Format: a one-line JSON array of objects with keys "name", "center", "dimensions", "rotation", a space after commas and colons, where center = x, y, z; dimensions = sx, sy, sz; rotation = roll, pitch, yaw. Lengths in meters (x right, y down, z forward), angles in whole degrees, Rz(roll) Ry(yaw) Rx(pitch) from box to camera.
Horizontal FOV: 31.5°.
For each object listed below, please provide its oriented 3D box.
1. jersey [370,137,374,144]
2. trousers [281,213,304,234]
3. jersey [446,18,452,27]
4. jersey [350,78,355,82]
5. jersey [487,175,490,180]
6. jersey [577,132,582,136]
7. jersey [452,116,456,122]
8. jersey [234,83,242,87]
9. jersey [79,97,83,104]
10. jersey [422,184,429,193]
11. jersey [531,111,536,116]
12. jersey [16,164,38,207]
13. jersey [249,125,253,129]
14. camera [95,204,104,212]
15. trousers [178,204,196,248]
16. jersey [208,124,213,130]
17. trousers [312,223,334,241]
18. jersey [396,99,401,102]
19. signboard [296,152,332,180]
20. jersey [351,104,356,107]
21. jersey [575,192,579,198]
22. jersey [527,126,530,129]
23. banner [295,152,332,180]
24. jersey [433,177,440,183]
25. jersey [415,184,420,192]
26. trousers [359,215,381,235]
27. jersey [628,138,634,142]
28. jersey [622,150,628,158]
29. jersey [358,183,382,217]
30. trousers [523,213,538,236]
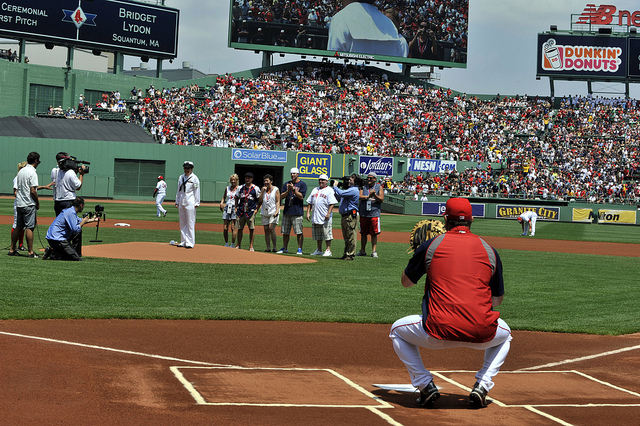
[{"name": "jersey", "center": [3.833, -5.457, 84.211], "dimensions": [0.203, 0.438, 0.461], "rotation": [2, 2, -3]}, {"name": "trousers", "center": [-1.288, 0.472, 50.718], "dimensions": [1.007, 1.321, 0.516], "rotation": [0, 0, 5]}, {"name": "jersey", "center": [9.970, -14.895, 87.813], "dimensions": [0.372, 0.610, 0.242], "rotation": [2, 2, -1]}, {"name": "jersey", "center": [2.385, -10.391, 88.020], "dimensions": [0.259, 0.273, 0.072], "rotation": [-4, -23, 4]}, {"name": "jersey", "center": [12.304, -2.642, 83.364], "dimensions": [0.237, 0.316, 0.161], "rotation": [3, -3, 44]}, {"name": "jersey", "center": [19.811, -6.087, 86.815], "dimensions": [0.259, 0.263, 0.064], "rotation": [4, -14, 7]}, {"name": "jersey", "center": [10.314, -7.322, 87.806], "dimensions": [0.248, 0.416, 0.490], "rotation": [2, 2, 6]}, {"name": "jersey", "center": [-6.136, -9.534, 83.335], "dimensions": [0.565, 0.233, 0.276], "rotation": [1, 2, -23]}, {"name": "jersey", "center": [-16.934, -7.997, 79.982], "dimensions": [0.243, 0.456, 0.171], "rotation": [1, 3, -30]}, {"name": "jersey", "center": [7.432, -1.751, 80.898], "dimensions": [0.513, 0.534, 0.200], "rotation": [2, -8, -1]}, {"name": "jersey", "center": [16.678, -7.922, 89.092], "dimensions": [0.354, 0.350, 0.087], "rotation": [-1, -6, 12]}, {"name": "jersey", "center": [-12.311, -1.185, 47.408], "dimensions": [1.249, 1.769, 0.659], "rotation": [1, -4, 38]}, {"name": "jersey", "center": [-5.039, -6.216, 81.171], "dimensions": [0.267, 0.278, 0.068], "rotation": [17, 17, 27]}, {"name": "camera", "center": [-9.582, -0.234, 48.697], "dimensions": [0.405, 0.419, 0.418], "rotation": [1, -3, 4]}, {"name": "trousers", "center": [-5.871, 0.562, 49.409], "dimensions": [0.667, 1.885, 0.530], "rotation": [2, 2, 3]}, {"name": "jersey", "center": [-7.801, -6.148, 80.191], "dimensions": [0.233, 0.370, 0.364], "rotation": [2, 2, 1]}, {"name": "trousers", "center": [0.078, 0.830, 50.343], "dimensions": [1.043, 1.043, 0.628], "rotation": [0, -4, 8]}, {"name": "jersey", "center": [5.987, -8.814, 87.956], "dimensions": [0.267, 0.112, 0.369], "rotation": [1, 0, 4]}, {"name": "signboard", "center": [-0.624, -3.339, 78.277], "dimensions": [3.199, 2.346, 0.116], "rotation": [-2, 0, -22]}, {"name": "jersey", "center": [2.455, -8.189, 85.711], "dimensions": [0.333, 0.220, 0.373], "rotation": [2, 2, 0]}, {"name": "jersey", "center": [18.137, -1.309, 80.363], "dimensions": [0.140, 0.422, 0.306], "rotation": [0, 2, -6]}, {"name": "jersey", "center": [16.097, -6.707, 88.052], "dimensions": [0.185, 0.179, 0.045], "rotation": [4, 3, -1]}, {"name": "banner", "center": [-0.624, -3.336, 78.211], "dimensions": [3.219, 2.365, 0.115], "rotation": [-1, 0, -22]}, {"name": "jersey", "center": [8.424, -2.449, 82.771], "dimensions": [0.449, 0.372, 0.663], "rotation": [2, 2, 7]}, {"name": "jersey", "center": [6.985, -1.775, 81.158], "dimensions": [0.349, 0.327, 0.746], "rotation": [6, 36, 4]}, {"name": "trousers", "center": [2.159, 0.556, 50.739], "dimensions": [1.178, 1.197, 0.701], "rotation": [1, -4, -4]}, {"name": "jersey", "center": [23.386, -5.560, 85.476], "dimensions": [0.410, 0.202, 0.291], "rotation": [2, 2, 13]}, {"name": "jersey", "center": [22.539, -4.391, 83.967], "dimensions": [0.333, 0.492, 0.661], "rotation": [3, 2, 17]}, {"name": "jersey", "center": [2.112, -0.689, 50.748], "dimensions": [1.098, 1.533, 0.809], "rotation": [5, 10, -8]}, {"name": "trousers", "center": [11.762, 0.622, 63.998], "dimensions": [0.722, 1.451, 0.394], "rotation": [23, 43, 31]}]
